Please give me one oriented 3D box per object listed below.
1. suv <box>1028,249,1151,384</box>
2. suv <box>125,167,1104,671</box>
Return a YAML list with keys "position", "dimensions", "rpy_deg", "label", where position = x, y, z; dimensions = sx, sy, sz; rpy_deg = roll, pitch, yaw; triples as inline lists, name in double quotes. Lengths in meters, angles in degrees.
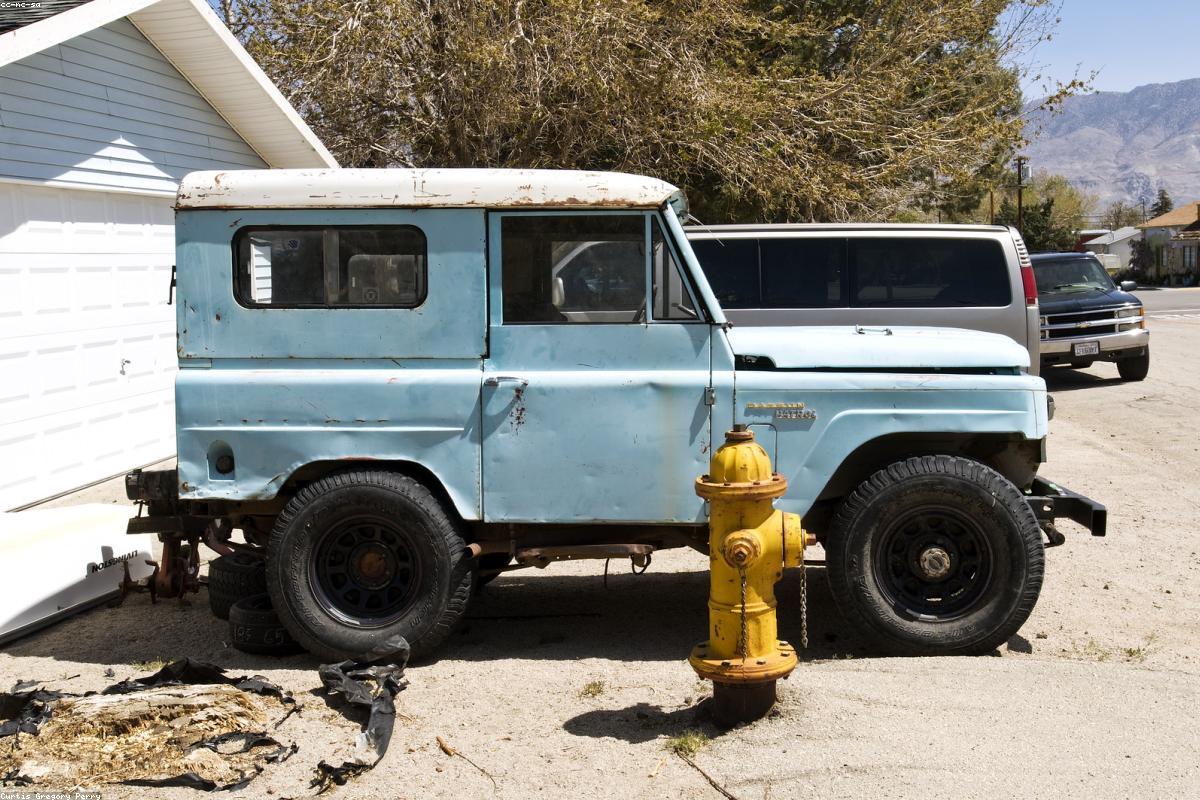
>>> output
- position: [8.901, -1.715, 19.155]
  dimensions: [1.903, 1.559, 3.183]
  rpy_deg: [-1, -2, 3]
  label: "suv"
- position: [0.433, -0.025, 9.280]
  dimensions: [6.772, 3.325, 3.506]
  rpy_deg: [-2, 4, 1]
  label: "suv"
